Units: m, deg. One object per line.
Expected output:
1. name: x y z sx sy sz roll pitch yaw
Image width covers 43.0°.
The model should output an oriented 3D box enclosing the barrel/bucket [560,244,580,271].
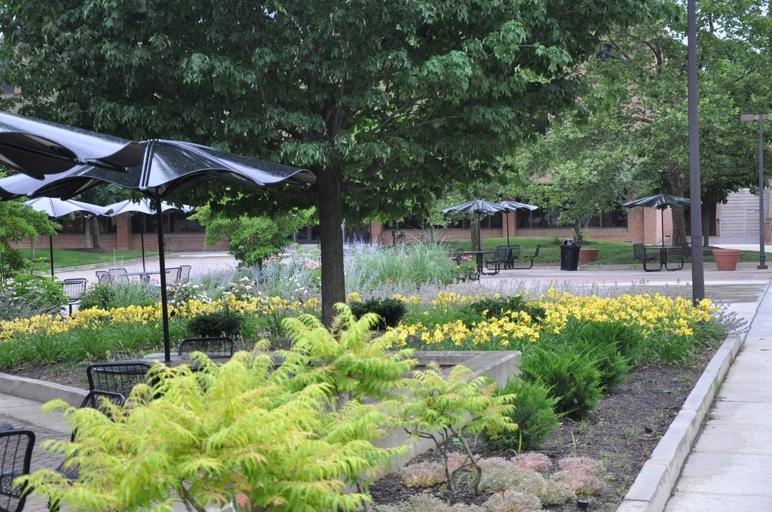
1. barrel/bucket: 7.199 0.040 38.337 0.641 1.162 0.693 -1 13 0

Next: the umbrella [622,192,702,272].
1. umbrella: 10.863 -0.914 38.199 2.424 2.836 2.512 2 0 -22
